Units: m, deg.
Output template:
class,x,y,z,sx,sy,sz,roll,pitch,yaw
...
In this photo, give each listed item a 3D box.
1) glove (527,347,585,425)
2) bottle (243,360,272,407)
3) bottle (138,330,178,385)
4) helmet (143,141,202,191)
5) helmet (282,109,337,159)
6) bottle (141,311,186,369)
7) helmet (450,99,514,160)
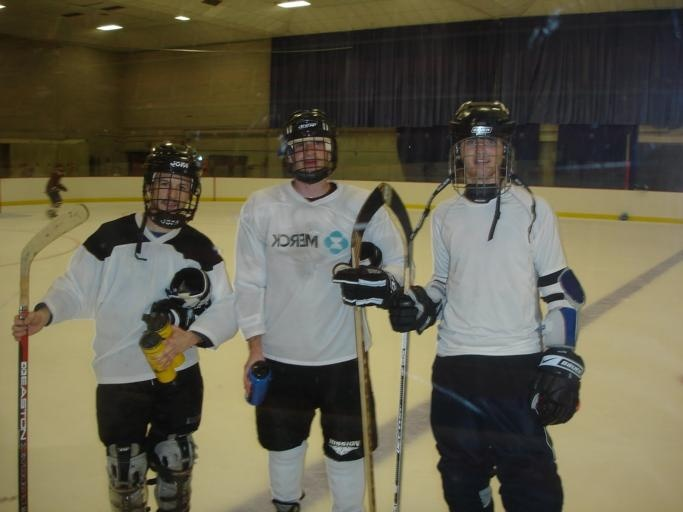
class,x,y,z,sx,sy,sz,roll,pitch,yaw
glove,0.778,0.454,2.400,0.180,0.287,0.120,22,-2,-12
bottle,-0.328,0.504,2.521,0.098,0.197,0.152,-2,9,-7
bottle,-0.701,0.390,2.453,0.135,0.224,0.105,-4,9,-14
helmet,-0.680,-0.340,2.603,0.163,0.213,0.214,5,-8,-30
helmet,-0.137,-0.506,2.636,0.158,0.185,0.212,-1,-20,-6
bottle,-0.690,0.323,2.444,0.158,0.263,0.162,-10,8,1
helmet,0.550,-0.512,2.572,0.193,0.241,0.238,0,-10,5
